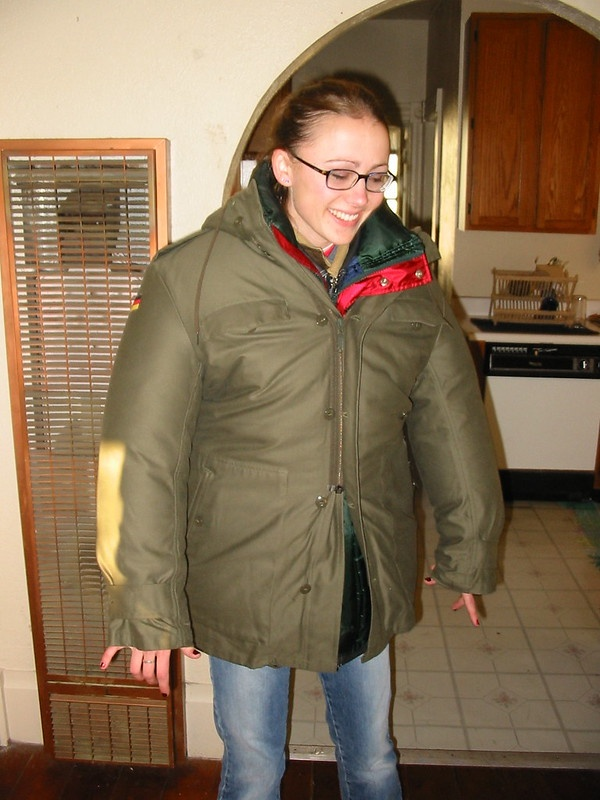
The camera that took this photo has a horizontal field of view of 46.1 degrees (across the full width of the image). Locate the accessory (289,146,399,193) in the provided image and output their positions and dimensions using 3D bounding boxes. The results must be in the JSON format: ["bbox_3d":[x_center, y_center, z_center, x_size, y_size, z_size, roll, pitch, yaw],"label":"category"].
[{"bbox_3d":[0.071,-0.333,1.033,0.170,0.062,0.097,-2,10,-11],"label":"accessory"}]

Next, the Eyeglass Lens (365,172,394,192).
[{"bbox_3d":[0.111,-0.319,1.028,0.043,0.015,0.040,29,38,34],"label":"Eyeglass Lens"}]

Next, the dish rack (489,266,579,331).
[{"bbox_3d":[1.298,-0.521,3.976,0.524,0.370,0.350,0,3,1],"label":"dish rack"}]
